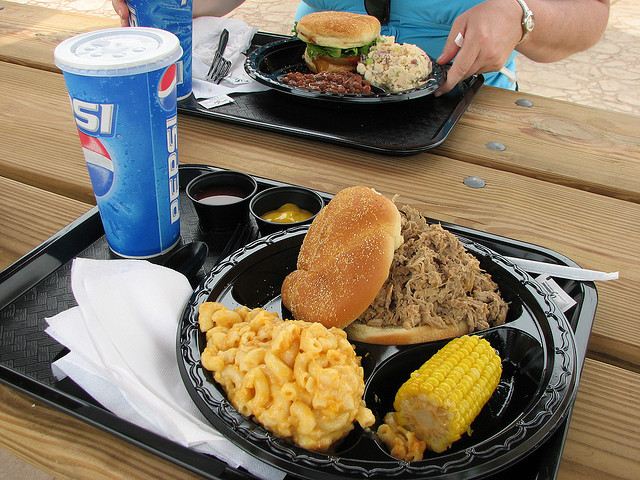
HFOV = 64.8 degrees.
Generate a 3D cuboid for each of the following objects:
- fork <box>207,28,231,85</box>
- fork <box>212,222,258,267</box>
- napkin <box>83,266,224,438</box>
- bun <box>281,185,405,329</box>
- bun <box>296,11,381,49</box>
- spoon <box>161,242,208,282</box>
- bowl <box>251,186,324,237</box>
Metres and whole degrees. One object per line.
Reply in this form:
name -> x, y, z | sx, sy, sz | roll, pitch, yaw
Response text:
fork -> -0.494, -0.951, 2.581 | 0.113, 0.042, 0.347 | 14, 49, -5
fork -> -0.261, 0.018, 1.594 | 0.078, 0.023, 0.204 | 17, 48, 12
napkin -> -0.391, 0.263, 1.235 | 0.244, 0.174, 0.487 | -16, 51, -16
bun -> 0.067, 0.053, 1.394 | 0.258, 0.235, 0.420 | 19, 51, 10
bun -> 0.110, -1.177, 2.800 | 0.505, 0.121, 0.360 | -4, 53, -9
spoon -> -0.372, 0.066, 1.547 | 0.159, 0.093, 0.156 | 1, 20, -7
bowl -> -0.112, -0.104, 1.635 | 0.232, 0.083, 0.191 | -16, 39, -19
